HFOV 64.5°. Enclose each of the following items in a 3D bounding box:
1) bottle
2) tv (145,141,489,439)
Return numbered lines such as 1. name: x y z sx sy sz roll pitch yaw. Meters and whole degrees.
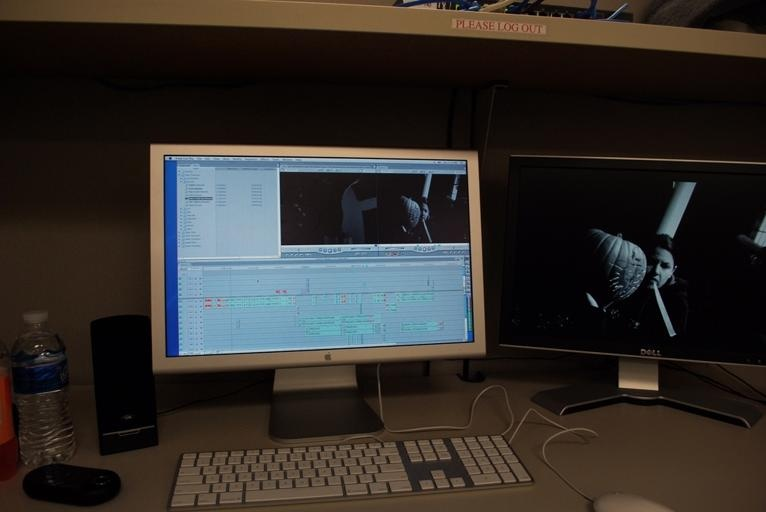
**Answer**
1. bottle: -0.750 0.268 1.325 0.110 0.310 0.220 -8 10 -30
2. tv: -0.157 0.074 1.389 0.824 0.561 0.220 -1 1 -10
